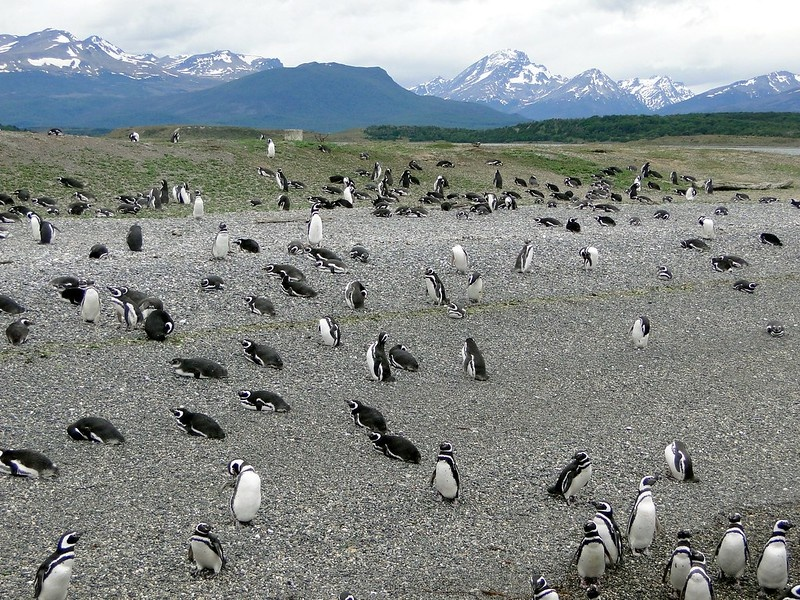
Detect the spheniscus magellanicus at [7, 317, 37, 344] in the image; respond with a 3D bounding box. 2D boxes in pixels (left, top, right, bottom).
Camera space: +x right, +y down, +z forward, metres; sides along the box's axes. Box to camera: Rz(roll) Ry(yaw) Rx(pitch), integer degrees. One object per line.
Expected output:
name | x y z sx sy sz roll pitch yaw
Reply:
spheniscus magellanicus | -7.112 0.624 13.981 0.437 0.401 0.447 9 20 35
